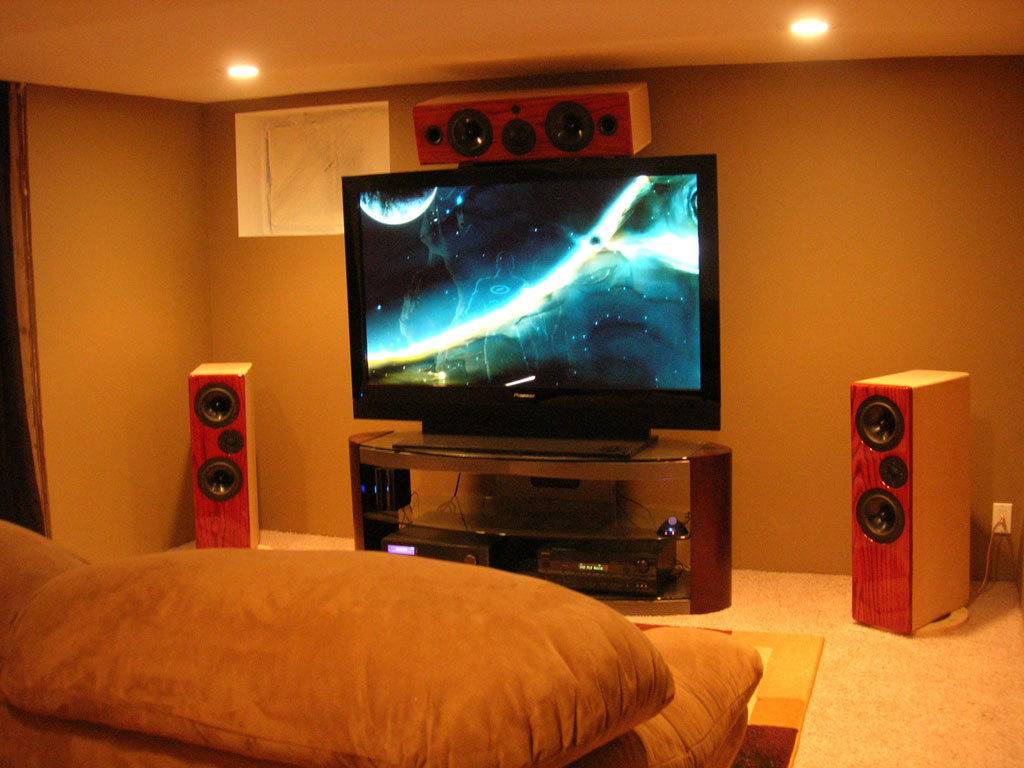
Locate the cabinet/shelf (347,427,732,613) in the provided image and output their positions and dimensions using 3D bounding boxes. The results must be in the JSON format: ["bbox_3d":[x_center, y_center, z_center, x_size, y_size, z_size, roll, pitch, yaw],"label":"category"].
[{"bbox_3d":[0.082,0.556,3.963,1.671,0.646,0.498,1,10,21],"label":"cabinet/shelf"}]

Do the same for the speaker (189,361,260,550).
[{"bbox_3d":[-1.326,0.339,4.292,0.281,0.831,0.204,-4,10,-18],"label":"speaker"}]

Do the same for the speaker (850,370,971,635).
[{"bbox_3d":[1.531,0.437,3.567,0.337,0.937,0.502,8,12,43],"label":"speaker"}]
